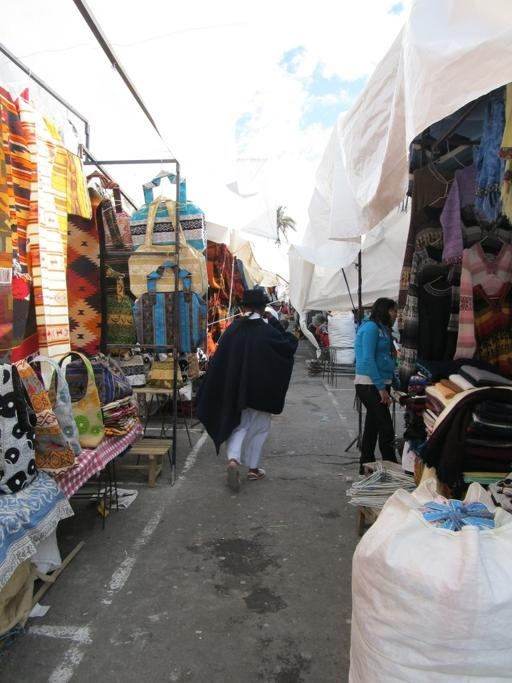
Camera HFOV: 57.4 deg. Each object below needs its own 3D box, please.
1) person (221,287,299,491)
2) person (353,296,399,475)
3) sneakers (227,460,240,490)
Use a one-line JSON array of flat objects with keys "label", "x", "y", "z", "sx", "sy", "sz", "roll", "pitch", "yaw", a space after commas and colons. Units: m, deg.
[{"label": "person", "x": -0.063, "y": 0.458, "z": 5.110, "sx": 0.667, "sy": 2.097, "sz": 1.078, "roll": 2, "pitch": 1, "yaw": 44}, {"label": "person", "x": 1.236, "y": 0.500, "z": 4.878, "sx": 0.445, "sy": 1.435, "sz": 0.590, "roll": 1, "pitch": 1, "yaw": 15}, {"label": "sneakers", "x": -0.235, "y": 1.315, "z": 4.625, "sx": 0.124, "sy": 0.282, "sz": 0.121, "roll": -7, "pitch": -4, "yaw": 16}]
